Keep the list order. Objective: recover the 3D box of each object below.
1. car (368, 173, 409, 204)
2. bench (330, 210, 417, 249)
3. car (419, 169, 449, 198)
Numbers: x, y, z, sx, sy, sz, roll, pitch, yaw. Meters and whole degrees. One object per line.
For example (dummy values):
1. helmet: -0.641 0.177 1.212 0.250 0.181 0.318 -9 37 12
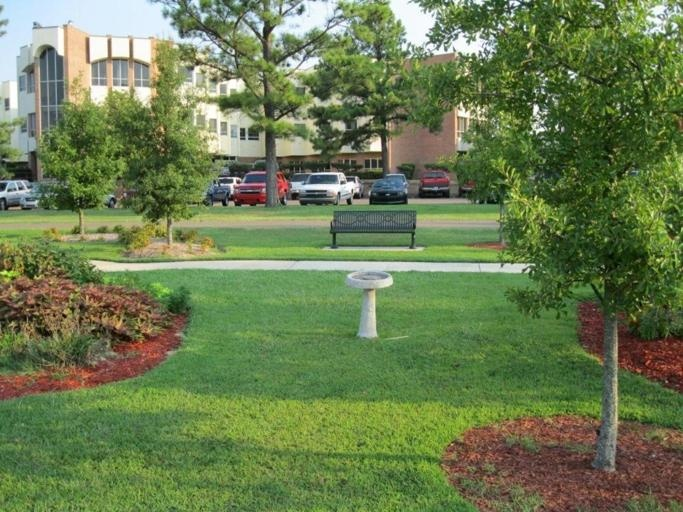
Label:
1. car: 2.173 -2.902 40.891 1.847 1.009 1.547 -6 15 -23
2. bench: 0.816 -0.644 22.017 2.102 0.975 0.719 0 2 5
3. car: 5.287 -4.001 50.297 1.798 1.694 1.476 -6 15 -24
